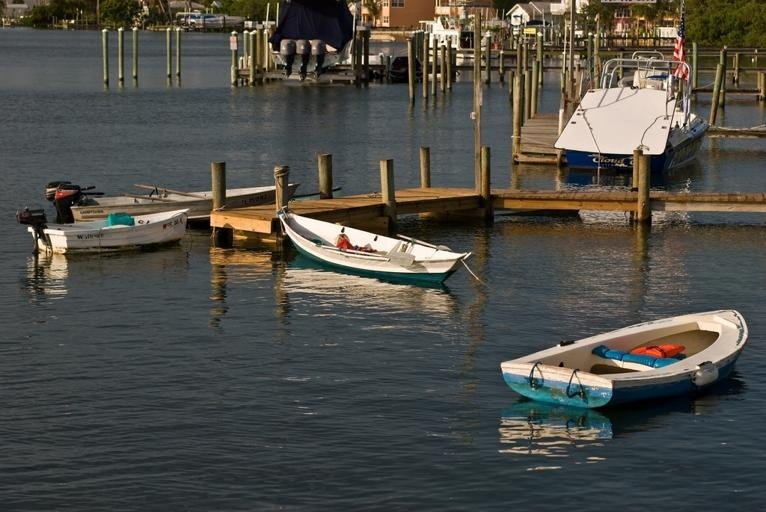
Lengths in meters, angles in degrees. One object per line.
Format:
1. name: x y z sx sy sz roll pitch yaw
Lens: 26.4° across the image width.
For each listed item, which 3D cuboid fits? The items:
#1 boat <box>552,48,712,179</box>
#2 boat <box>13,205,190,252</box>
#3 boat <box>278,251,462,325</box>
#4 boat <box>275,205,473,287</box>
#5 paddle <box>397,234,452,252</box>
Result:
1. boat: 10.002 -5.592 65.424 5.044 4.428 9.145 2 10 13
2. boat: -9.387 -0.870 55.029 6.143 1.232 1.647 -3 13 -15
3. boat: -0.717 1.185 50.669 6.430 1.171 3.912 5 11 29
4. boat: 0.009 -0.370 52.912 8.345 1.767 2.212 12 40 24
5. paddle: 1.350 -0.424 53.524 2.200 0.233 0.203 11 -22 8
